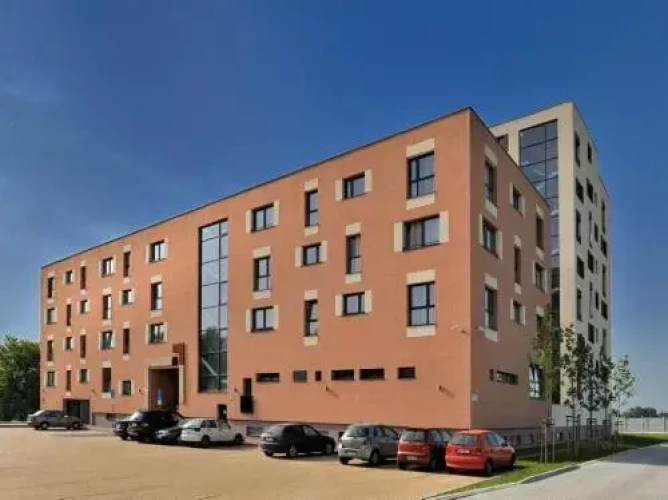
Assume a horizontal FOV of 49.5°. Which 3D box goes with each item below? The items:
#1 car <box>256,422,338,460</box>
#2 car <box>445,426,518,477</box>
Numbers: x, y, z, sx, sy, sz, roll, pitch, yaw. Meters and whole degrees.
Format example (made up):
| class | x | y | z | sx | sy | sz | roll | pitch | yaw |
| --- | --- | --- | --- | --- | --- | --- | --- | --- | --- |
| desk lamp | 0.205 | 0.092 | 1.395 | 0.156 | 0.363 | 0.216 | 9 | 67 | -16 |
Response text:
| class | x | y | z | sx | sy | sz | roll | pitch | yaw |
| --- | --- | --- | --- | --- | --- | --- | --- | --- | --- |
| car | -2.086 | 10.624 | 40.211 | 4.369 | 1.798 | 2.129 | 10 | -15 | -42 |
| car | 7.378 | 9.978 | 35.875 | 1.843 | 1.541 | 3.239 | -8 | -12 | 38 |
